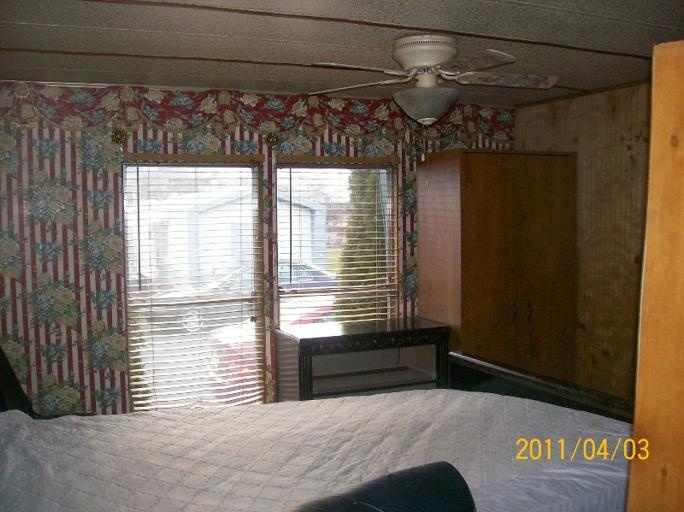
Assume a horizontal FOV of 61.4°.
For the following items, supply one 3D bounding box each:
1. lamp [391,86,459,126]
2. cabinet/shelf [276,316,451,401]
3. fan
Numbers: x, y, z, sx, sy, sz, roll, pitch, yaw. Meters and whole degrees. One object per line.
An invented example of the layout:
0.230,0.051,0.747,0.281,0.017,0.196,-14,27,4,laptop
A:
0.423,-0.766,2.915,0.297,0.180,0.325,2,10,21,lamp
0.233,0.857,4.271,1.116,0.567,0.522,-6,-6,-4,cabinet/shelf
0.448,-0.960,2.935,1.140,0.156,1.038,1,4,-2,fan
